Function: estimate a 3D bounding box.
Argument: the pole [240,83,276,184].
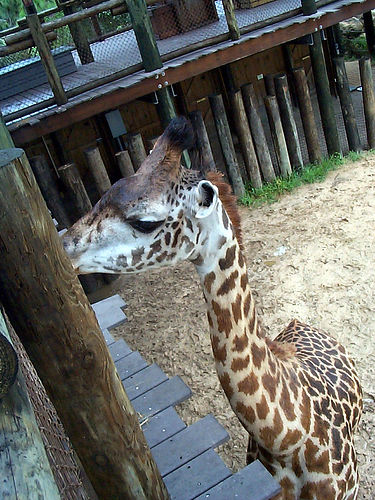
[{"bbox_3d":[1.207,-1.911,6.681,0.360,2.292,0.366,-8,20,13],"label":"pole"}]

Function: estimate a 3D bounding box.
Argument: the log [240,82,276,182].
[{"bbox_3d":[1.260,-1.875,6.678,0.358,2.283,0.359,-5,22,16],"label":"log"}]

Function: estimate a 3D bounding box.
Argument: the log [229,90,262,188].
[{"bbox_3d":[1.001,-1.902,6.565,0.247,1.824,0.237,-16,-18,17],"label":"log"}]
